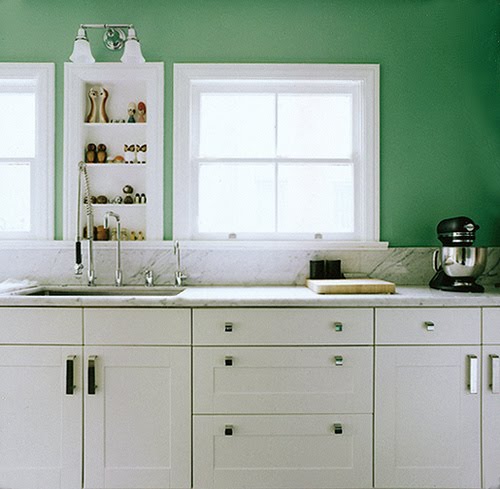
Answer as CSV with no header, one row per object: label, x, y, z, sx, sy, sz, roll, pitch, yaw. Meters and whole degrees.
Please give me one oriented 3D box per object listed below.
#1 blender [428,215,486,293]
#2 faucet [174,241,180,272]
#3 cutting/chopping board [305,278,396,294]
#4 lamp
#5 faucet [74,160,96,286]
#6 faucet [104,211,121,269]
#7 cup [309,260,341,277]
blender,1.115,0.060,4.660,0.228,0.457,0.393,1,-4,-9
faucet,-0.412,0.068,4.900,0.037,0.166,0.044,-1,3,-4
cutting/chopping board,0.538,0.227,4.712,0.457,0.061,0.341,-1,3,2
lamp,-0.769,-1.117,4.797,0.452,0.270,0.211,-2,5,-5
faucet,-0.936,-0.117,4.877,0.114,0.693,0.275,-2,3,-12
faucet,-0.781,-0.024,4.919,0.093,0.329,0.235,-2,3,-8
cup,0.418,0.140,4.866,0.145,0.110,0.090,0,-2,8
